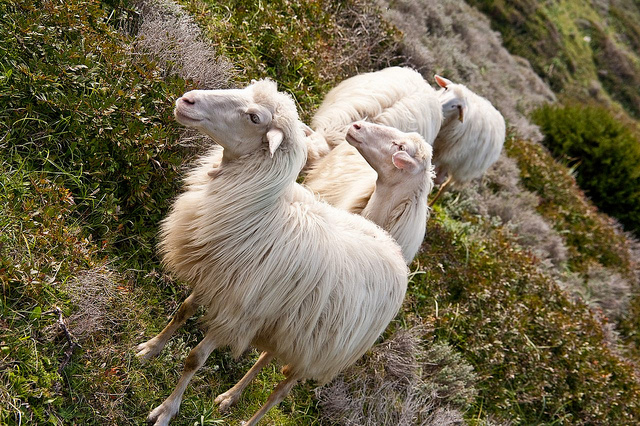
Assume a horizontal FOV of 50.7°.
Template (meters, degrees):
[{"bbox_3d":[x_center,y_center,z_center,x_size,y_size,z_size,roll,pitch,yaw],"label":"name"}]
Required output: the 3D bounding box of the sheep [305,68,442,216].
[{"bbox_3d":[0.544,-1.211,9.175,2.393,1.613,1.325,-25,88,-50],"label":"sheep"}]

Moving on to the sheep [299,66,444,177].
[{"bbox_3d":[0.596,-1.371,9.629,1.384,2.041,1.215,139,-70,-81],"label":"sheep"}]
